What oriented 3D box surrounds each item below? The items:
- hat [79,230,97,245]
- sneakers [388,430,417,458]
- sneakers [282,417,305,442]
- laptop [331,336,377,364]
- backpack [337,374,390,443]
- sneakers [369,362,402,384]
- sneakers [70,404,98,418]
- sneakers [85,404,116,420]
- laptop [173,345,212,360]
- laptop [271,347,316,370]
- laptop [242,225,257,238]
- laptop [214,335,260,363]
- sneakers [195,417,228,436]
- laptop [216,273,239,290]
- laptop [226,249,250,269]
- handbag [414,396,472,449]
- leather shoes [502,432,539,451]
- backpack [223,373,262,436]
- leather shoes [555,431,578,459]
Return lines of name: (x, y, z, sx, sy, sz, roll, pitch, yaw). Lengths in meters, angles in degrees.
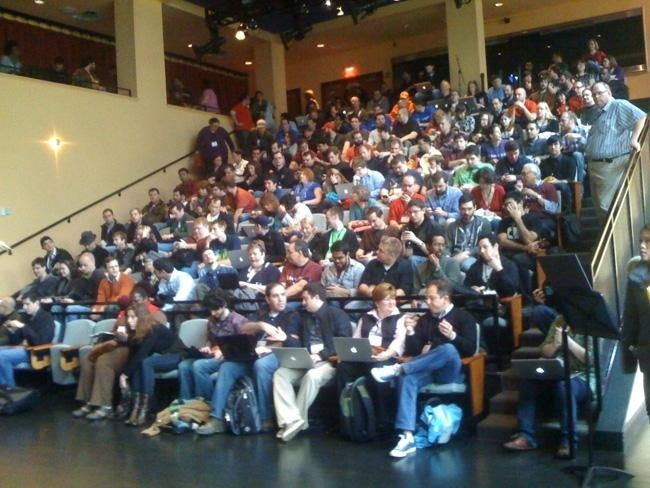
hat: (-4.079, -0.112, 10.174, 0.242, 0.129, 0.333, 5, 39, 9)
sneakers: (0.675, 1.744, 5.140, 0.300, 0.206, 0.119, 3, -8, -41)
sneakers: (-0.313, 1.763, 5.643, 0.296, 0.111, 0.114, -39, 22, -24)
laptop: (0.257, 0.983, 5.464, 0.342, 0.264, 0.249, 0, 7, 30)
backpack: (0.397, 1.562, 5.596, 0.524, 0.581, 0.430, -5, -11, 1)
sneakers: (0.539, 1.174, 5.403, 0.296, 0.137, 0.134, -6, -42, -1)
sneakers: (-2.762, 1.908, 6.740, 0.246, 0.106, 0.121, -1, 4, -38)
sneakers: (-2.517, 1.887, 6.582, 0.310, 0.140, 0.148, 4, 10, -10)
laptop: (-1.485, 1.212, 6.528, 0.317, 0.113, 0.121, 16, 16, 29)
laptop: (-0.320, 1.101, 5.698, 0.343, 0.222, 0.259, 1, 35, 31)
laptop: (-1.176, -0.197, 9.024, 0.188, 0.153, 0.266, -3, 8, -5)
laptop: (-0.888, 1.051, 5.867, 0.389, 0.276, 0.313, -2, 6, 20)
sneakers: (-1.136, 1.824, 5.858, 0.314, 0.149, 0.121, 4, -7, -23)
laptop: (-1.159, 0.448, 6.967, 0.198, 0.136, 0.206, -2, 1, -10)
laptop: (-1.118, 0.184, 7.708, 0.307, 0.237, 0.217, -3, 9, 23)
handbag: (0.995, 1.591, 5.195, 0.340, 0.156, 0.415, -20, 7, -20)
leather shoes: (1.627, 1.654, 4.935, 0.241, 0.104, 0.136, 3, -8, -7)
backpack: (-0.825, 1.576, 5.824, 0.375, 0.706, 0.491, 4, -12, -30)
leather shoes: (1.917, 1.628, 4.712, 0.101, 0.228, 0.314, -10, -24, 23)
